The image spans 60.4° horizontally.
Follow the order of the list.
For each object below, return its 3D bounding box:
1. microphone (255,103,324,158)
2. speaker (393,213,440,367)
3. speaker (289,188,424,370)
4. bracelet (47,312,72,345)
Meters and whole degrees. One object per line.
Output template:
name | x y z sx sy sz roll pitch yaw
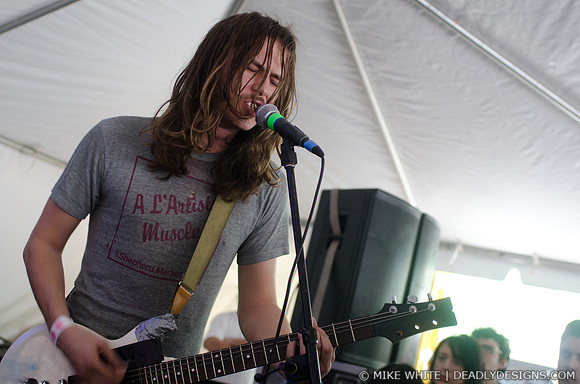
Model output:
microphone | -0.002 -0.284 2.303 0.135 0.132 0.466 8 23 -44
speaker | 0.892 0.438 3.247 0.226 0.866 0.194 5 -44 15
speaker | 0.417 0.562 3.141 0.614 1.022 0.621 12 -11 1
bracelet | -1.119 0.664 2.424 0.050 0.132 0.130 39 -53 -6
